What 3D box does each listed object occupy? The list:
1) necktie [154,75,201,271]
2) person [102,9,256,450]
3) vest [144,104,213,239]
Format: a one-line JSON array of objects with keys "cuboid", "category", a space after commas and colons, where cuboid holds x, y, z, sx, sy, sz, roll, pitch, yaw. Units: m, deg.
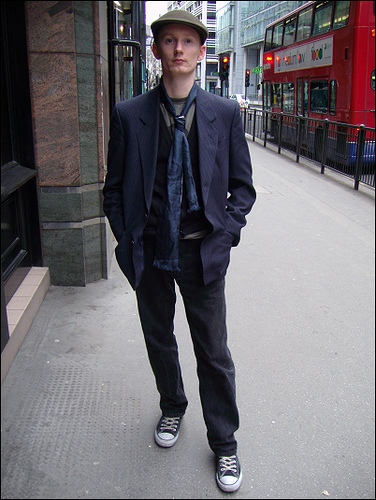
[{"cuboid": [-0.040, -0.296, 1.371, 0.167, 0.753, 0.169, 1, 7, -7], "category": "necktie"}, {"cuboid": [-0.063, 0.036, 1.553, 0.572, 1.952, 0.499, 8, 9, 41], "category": "person"}, {"cuboid": [-0.034, -0.349, 1.318, 0.239, 0.633, 0.066, 13, 53, 10], "category": "vest"}]
